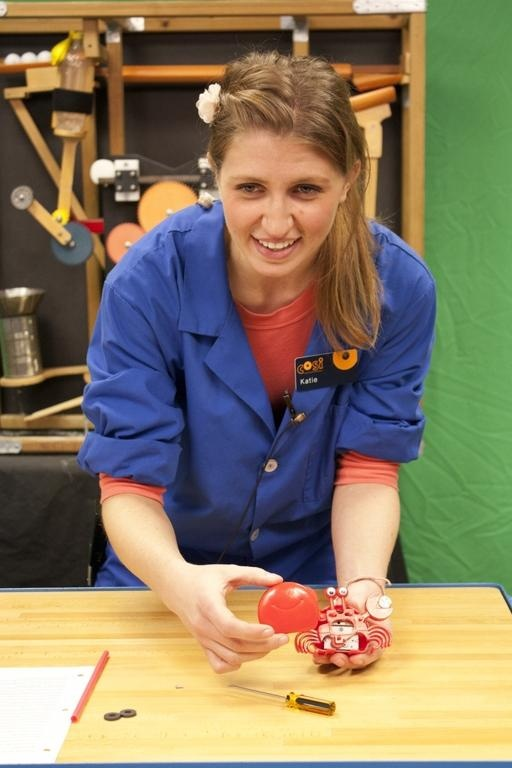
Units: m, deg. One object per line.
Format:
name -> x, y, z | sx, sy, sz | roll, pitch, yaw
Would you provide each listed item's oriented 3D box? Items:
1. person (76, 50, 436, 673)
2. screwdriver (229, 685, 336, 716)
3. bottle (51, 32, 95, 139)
person -> 0.003, -0.006, 1.127 | 0.490, 0.838, 0.467 | -1, 10, 5
screwdriver -> 0.029, 0.323, 0.739 | 0.121, 0.013, 0.034 | 3, 7, 31
bottle -> -0.547, -0.895, 2.113 | 0.113, 0.284, 0.093 | 4, 19, -16
